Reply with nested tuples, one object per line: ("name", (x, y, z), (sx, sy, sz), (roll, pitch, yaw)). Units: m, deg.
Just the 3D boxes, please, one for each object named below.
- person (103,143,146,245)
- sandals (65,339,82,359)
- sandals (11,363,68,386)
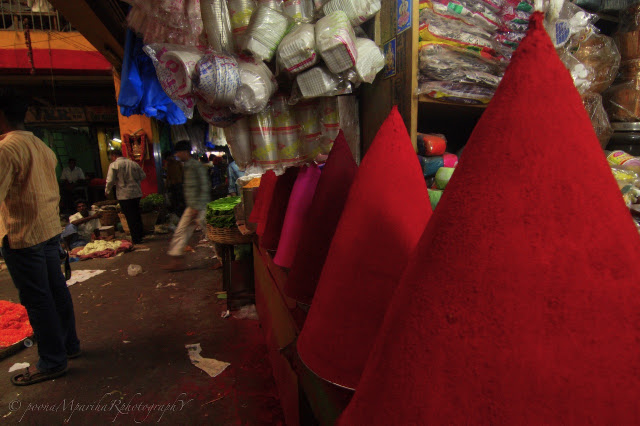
("person", (-3.055, -0.270, 6.617), (0.585, 1.468, 0.780), (-11, 17, -26))
("sandals", (-1.825, 1.021, 3.081), (0.055, 0.110, 0.158), (1, 7, -10))
("sandals", (-1.920, 1.107, 2.846), (0.258, 0.073, 0.132), (2, 2, -23))
